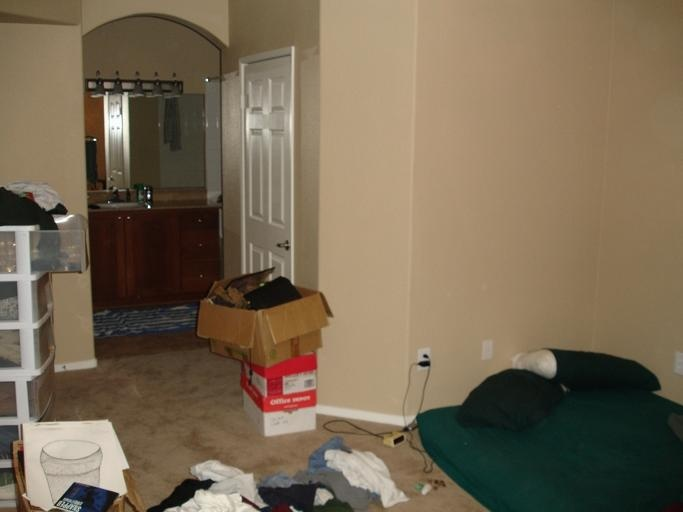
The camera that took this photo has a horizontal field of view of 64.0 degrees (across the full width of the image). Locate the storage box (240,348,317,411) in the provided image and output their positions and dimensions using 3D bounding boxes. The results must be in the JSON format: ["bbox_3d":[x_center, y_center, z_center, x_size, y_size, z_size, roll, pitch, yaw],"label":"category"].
[{"bbox_3d":[-0.421,0.868,3.800,0.402,0.263,0.408,-4,5,-38],"label":"storage box"}]

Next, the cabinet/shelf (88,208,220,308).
[{"bbox_3d":[-2.317,0.134,6.944,1.869,1.468,1.047,-3,6,-20],"label":"cabinet/shelf"}]

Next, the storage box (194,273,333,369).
[{"bbox_3d":[-0.567,0.364,3.697,0.627,0.344,0.594,-9,20,-41],"label":"storage box"}]

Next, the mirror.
[{"bbox_3d":[-2.367,-1.416,6.745,1.263,1.356,0.023,-2,0,-10],"label":"mirror"}]

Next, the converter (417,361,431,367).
[{"bbox_3d":[0.586,0.757,3.868,0.040,0.029,0.075,4,-10,-20],"label":"converter"}]

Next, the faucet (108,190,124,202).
[{"bbox_3d":[-2.764,-0.748,6.721,0.161,0.169,0.043,-3,11,-24],"label":"faucet"}]

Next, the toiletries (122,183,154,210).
[{"bbox_3d":[-2.522,-0.741,6.738,0.319,0.346,0.174,1,10,-13],"label":"toiletries"}]

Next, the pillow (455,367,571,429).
[{"bbox_3d":[1.100,0.949,3.586,0.607,0.337,0.429,10,14,39],"label":"pillow"}]

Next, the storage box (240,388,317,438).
[{"bbox_3d":[-0.400,1.113,3.846,0.297,0.140,0.310,1,1,-30],"label":"storage box"}]
